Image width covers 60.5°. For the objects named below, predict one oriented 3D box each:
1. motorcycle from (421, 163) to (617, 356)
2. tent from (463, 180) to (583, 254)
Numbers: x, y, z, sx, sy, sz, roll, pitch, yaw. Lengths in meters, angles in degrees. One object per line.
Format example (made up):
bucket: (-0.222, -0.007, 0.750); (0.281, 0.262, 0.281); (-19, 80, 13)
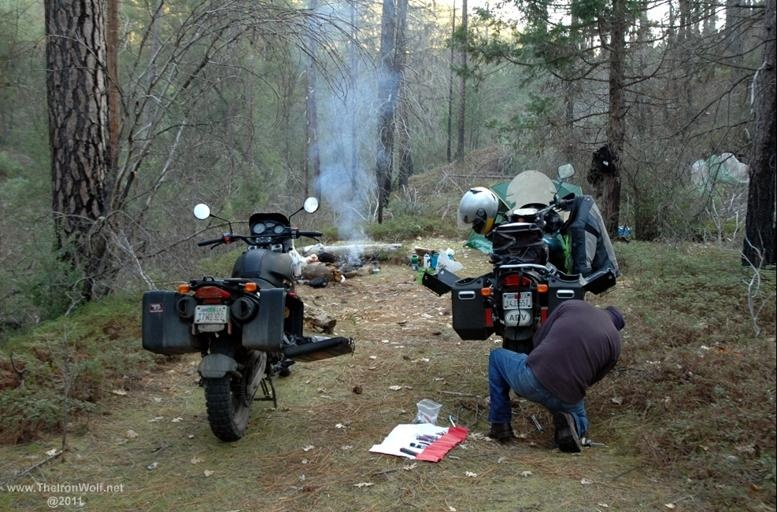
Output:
motorcycle: (1.978, -0.134, 9.169); (1.920, 1.698, 2.999); (-15, 18, 31)
tent: (2.470, -0.693, 14.982); (2.180, 1.328, 2.223); (4, 7, 42)
